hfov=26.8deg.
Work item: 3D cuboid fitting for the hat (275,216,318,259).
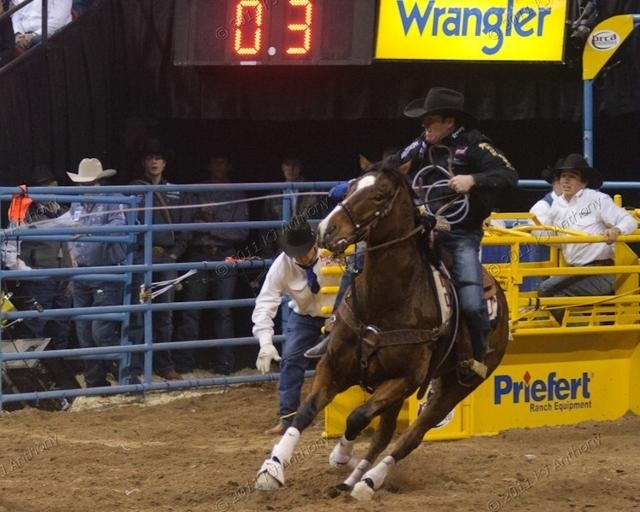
[{"bbox_3d":[-0.222,-0.187,13.843,0.342,0.386,0.183,-8,4,1],"label":"hat"}]

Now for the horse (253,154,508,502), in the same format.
[{"bbox_3d":[0.614,0.657,12.364,2.592,3.049,0.735,-13,20,-39],"label":"horse"}]

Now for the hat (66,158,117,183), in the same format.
[{"bbox_3d":[-2.702,-0.995,15.922,0.399,0.151,0.404,-7,3,8],"label":"hat"}]

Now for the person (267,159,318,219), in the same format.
[{"bbox_3d":[-0.245,-1.042,16.746,0.464,0.726,1.268,6,24,5],"label":"person"}]

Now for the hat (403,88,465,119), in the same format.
[{"bbox_3d":[1.130,-1.426,12.799,0.493,0.165,0.347,-3,18,-22],"label":"hat"}]

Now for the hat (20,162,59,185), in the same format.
[{"bbox_3d":[-3.360,-0.991,16.072,0.311,0.119,0.334,-20,9,-14],"label":"hat"}]
